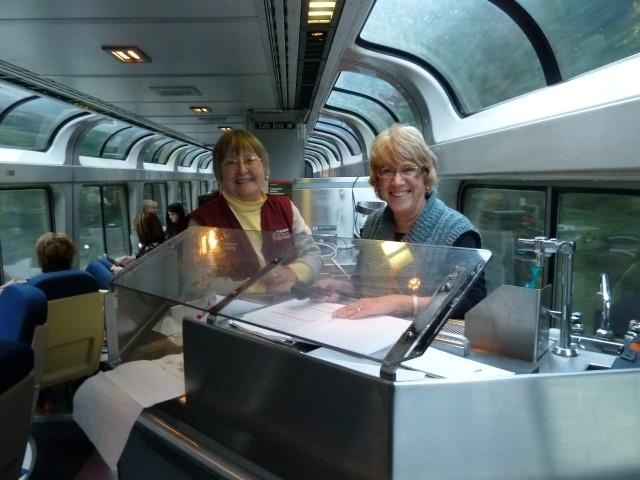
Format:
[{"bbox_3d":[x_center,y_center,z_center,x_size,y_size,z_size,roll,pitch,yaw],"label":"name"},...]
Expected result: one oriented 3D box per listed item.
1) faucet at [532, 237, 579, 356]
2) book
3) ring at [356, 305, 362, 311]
[{"bbox_3d":[1.036,0.226,1.773,0.235,0.481,0.153,-7,7,-43],"label":"faucet"},{"bbox_3d":[0.107,0.317,1.496,1.055,0.306,0.366,0,5,17],"label":"book"},{"bbox_3d":[0.136,0.235,1.441,0.018,0.017,0.006,3,-19,38],"label":"ring"}]
